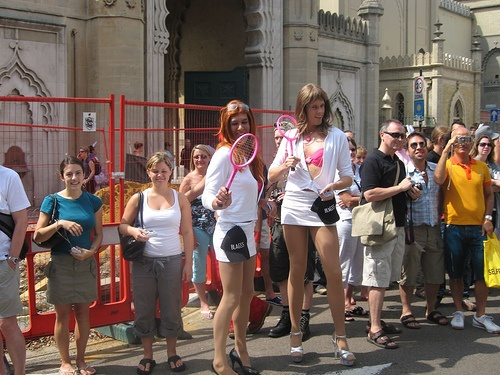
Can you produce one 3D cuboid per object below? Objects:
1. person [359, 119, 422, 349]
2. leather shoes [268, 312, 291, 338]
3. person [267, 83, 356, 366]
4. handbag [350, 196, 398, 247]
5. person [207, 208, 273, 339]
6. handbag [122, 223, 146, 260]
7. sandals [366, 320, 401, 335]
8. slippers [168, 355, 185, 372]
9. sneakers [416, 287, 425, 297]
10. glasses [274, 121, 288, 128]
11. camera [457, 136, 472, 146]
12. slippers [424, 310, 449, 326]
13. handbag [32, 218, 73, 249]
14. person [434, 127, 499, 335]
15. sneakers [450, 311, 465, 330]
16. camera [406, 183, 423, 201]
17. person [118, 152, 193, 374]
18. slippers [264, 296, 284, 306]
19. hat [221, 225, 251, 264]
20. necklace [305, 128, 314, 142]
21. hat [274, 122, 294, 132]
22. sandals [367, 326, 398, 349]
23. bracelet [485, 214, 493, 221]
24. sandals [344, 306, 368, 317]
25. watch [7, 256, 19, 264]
[{"bbox_3d":[1.762,0.559,8.083,0.662,2.827,0.826,6,10,43],"label":"person"},{"bbox_3d":[0.424,1.844,8.294,0.157,0.288,0.423,0,-5,39],"label":"leather shoes"},{"bbox_3d":[0.794,0.438,7.407,0.831,3.282,0.514,1,7,9],"label":"person"},{"bbox_3d":[1.620,0.440,8.044,0.559,0.619,0.297,-5,-11,45],"label":"handbag"},{"bbox_3d":[-0.157,1.092,7.637,0.421,1.064,1.535,4,-5,-1],"label":"person"},{"bbox_3d":[-1.370,0.637,7.256,0.336,0.490,0.230,-12,-9,40],"label":"handbag"},{"bbox_3d":[1.751,1.891,8.279,0.495,0.226,0.198,-2,6,2],"label":"sandals"},{"bbox_3d":[-0.850,2.067,7.268,0.197,0.169,0.105,-2,8,-10],"label":"slippers"},{"bbox_3d":[2.706,1.687,9.959,0.092,0.122,0.290,-1,-4,-8],"label":"sneakers"},{"bbox_3d":[0.414,-0.904,8.853,0.191,0.096,0.140,-6,8,-38],"label":"glasses"},{"bbox_3d":[2.944,-0.653,8.580,0.196,0.103,0.080,0,8,5],"label":"camera"},{"bbox_3d":[2.611,1.828,8.663,0.119,0.123,0.315,-5,1,-20],"label":"slippers"},{"bbox_3d":[-2.244,0.524,7.174,0.365,0.390,0.283,-2,9,3],"label":"handbag"},{"bbox_3d":[2.976,0.595,8.594,0.725,2.587,0.785,2,8,18],"label":"person"},{"bbox_3d":[2.834,1.820,8.540,0.178,0.187,0.296,2,9,18],"label":"sneakers"},{"bbox_3d":[2.158,0.073,8.167,0.088,0.239,0.177,3,33,-48],"label":"camera"},{"bbox_3d":[-1.078,0.872,7.328,0.842,2.519,0.544,-3,8,-20],"label":"person"},{"bbox_3d":[0.368,1.733,9.434,0.287,0.131,0.114,-1,-7,22],"label":"slippers"},{"bbox_3d":[-0.150,0.631,6.793,0.238,0.417,0.128,-13,-12,-13],"label":"hat"},{"bbox_3d":[0.711,-0.627,7.452,0.098,0.259,0.023,-12,-21,26],"label":"necklace"},{"bbox_3d":[0.501,-0.873,8.882,0.223,0.081,0.172,2,3,-23],"label":"hat"},{"bbox_3d":[1.658,1.914,7.882,0.168,0.143,0.331,-6,5,-31],"label":"sandals"},{"bbox_3d":[3.271,0.424,8.552,0.084,0.061,0.083,15,-1,-17],"label":"bracelet"},{"bbox_3d":[1.528,1.796,8.967,0.349,0.122,0.131,-3,-3,14],"label":"sandals"},{"bbox_3d":[-2.538,0.783,6.688,0.089,0.065,0.098,17,2,41],"label":"watch"}]
